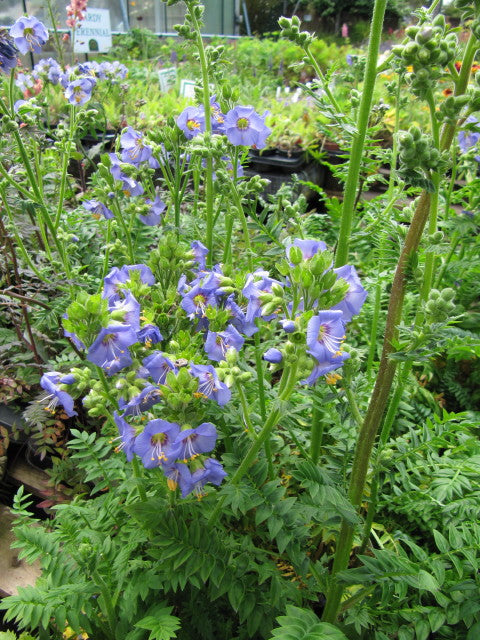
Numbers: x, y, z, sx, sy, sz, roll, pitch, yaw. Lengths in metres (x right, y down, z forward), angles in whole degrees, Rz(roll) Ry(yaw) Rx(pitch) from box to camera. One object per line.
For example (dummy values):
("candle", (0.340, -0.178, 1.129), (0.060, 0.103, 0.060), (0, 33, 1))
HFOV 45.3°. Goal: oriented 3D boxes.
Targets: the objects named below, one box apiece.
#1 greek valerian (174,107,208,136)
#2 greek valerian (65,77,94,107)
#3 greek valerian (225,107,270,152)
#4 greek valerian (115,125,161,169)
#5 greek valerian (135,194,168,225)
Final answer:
("greek valerian", (-0.137, -0.569, 1.664), (0.091, 0.084, 0.043), (-7, 21, -29))
("greek valerian", (-0.531, -0.752, 1.903), (0.096, 0.101, 0.153), (-5, 29, -13))
("greek valerian", (0.019, -0.496, 1.496), (0.121, 0.125, 0.166), (1, 28, -2))
("greek valerian", (-0.315, -0.531, 1.786), (0.121, 0.127, 0.144), (-2, 29, -8))
("greek valerian", (-0.286, -0.337, 1.826), (0.060, 0.084, 0.108), (9, 29, 11))
